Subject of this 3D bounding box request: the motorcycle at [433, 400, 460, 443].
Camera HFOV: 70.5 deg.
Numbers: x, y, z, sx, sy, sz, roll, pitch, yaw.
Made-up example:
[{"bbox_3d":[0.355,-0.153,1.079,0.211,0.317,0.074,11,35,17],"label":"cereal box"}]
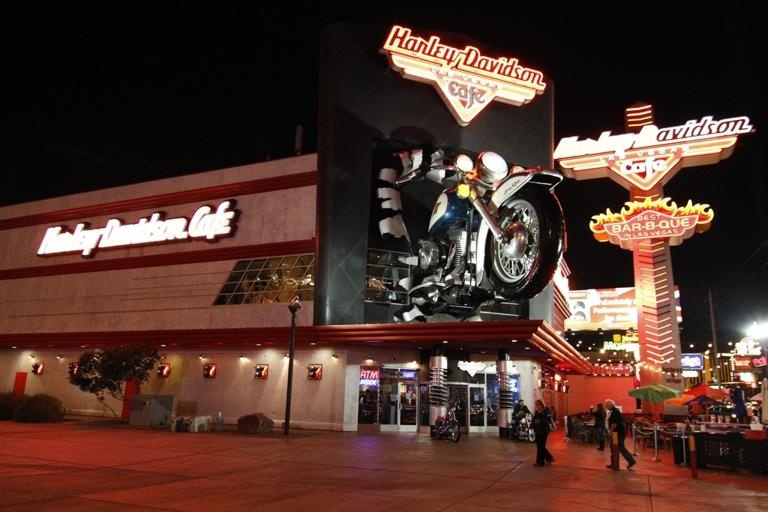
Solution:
[{"bbox_3d":[2.920,7.967,25.557,0.731,1.299,1.535,9,-19,-25],"label":"motorcycle"}]
